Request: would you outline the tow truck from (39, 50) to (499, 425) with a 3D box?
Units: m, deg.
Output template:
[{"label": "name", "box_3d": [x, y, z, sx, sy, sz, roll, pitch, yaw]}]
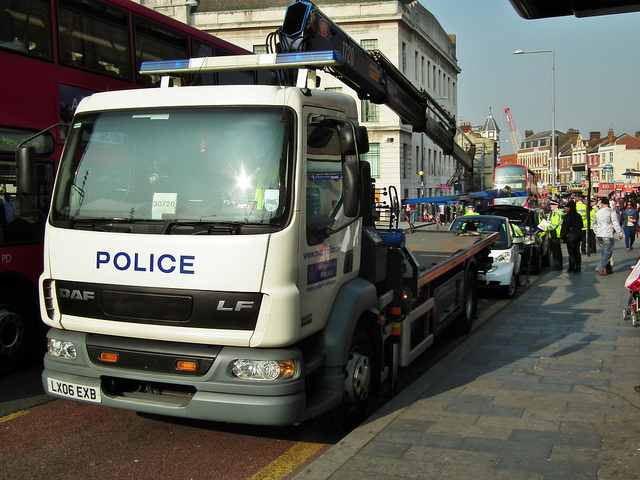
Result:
[{"label": "tow truck", "box_3d": [0.177, -0.267, 9.140, 3.255, 3.906, 8.643, 3, 4, 23]}]

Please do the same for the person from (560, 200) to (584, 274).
[{"label": "person", "box_3d": [7.825, -0.078, 18.119, 0.625, 2.242, 0.993, 0, 4, 19]}]

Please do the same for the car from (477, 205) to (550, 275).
[{"label": "car", "box_3d": [6.539, -0.178, 19.602, 2.035, 2.079, 3.890, -3, 8, 29]}]
